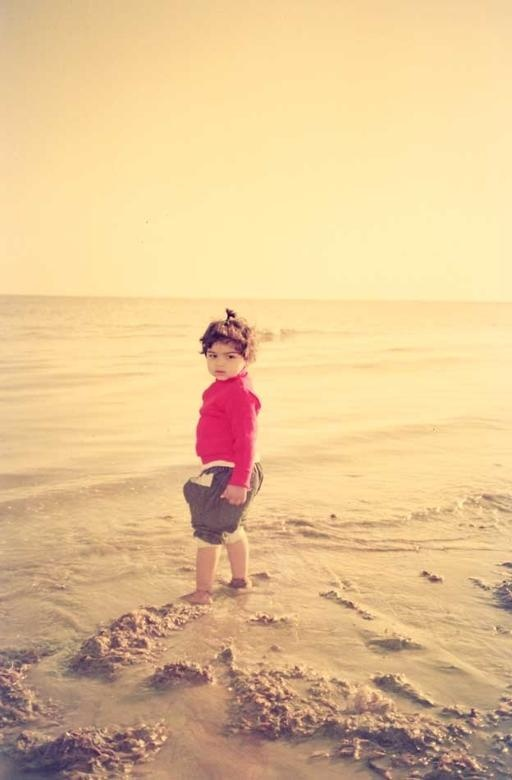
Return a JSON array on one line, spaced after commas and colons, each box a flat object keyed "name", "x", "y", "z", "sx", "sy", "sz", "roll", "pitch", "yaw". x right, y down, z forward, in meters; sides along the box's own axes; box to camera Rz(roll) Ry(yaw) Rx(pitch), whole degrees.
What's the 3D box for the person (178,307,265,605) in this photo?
[{"name": "person", "x": -0.145, "y": 0.257, "z": 3.308, "sx": 0.333, "sy": 1.195, "sz": 0.532, "roll": 1, "pitch": 8, "yaw": 0}]
